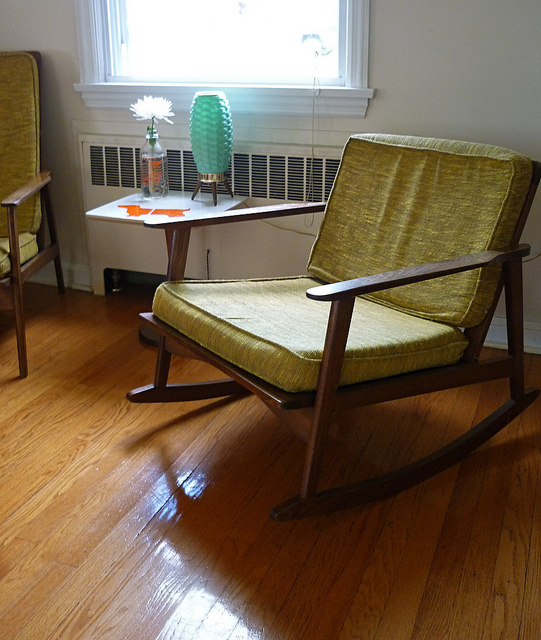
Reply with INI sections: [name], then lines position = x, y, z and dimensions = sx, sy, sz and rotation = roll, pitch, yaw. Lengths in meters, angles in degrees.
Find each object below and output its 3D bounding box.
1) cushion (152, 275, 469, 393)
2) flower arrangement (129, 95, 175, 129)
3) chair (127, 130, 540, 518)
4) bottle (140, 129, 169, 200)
[cushion]
position = 0.065, -0.012, 1.259
dimensions = 0.491, 0.108, 0.569
rotation = -13, 28, -32
[flower arrangement]
position = -0.411, -0.745, 1.944
dimensions = 0.137, 0.126, 0.127
rotation = -26, 53, -26
[chair]
position = 0.266, -0.030, 1.602
dimensions = 1.204, 0.870, 0.915
rotation = -20, 28, -29
[bottle]
position = -0.402, -0.530, 1.894
dimensions = 0.098, 0.253, 0.076
rotation = 16, 34, 10
